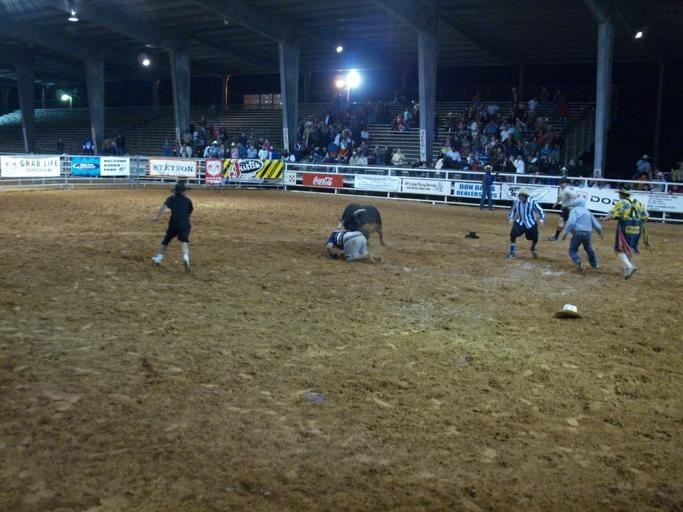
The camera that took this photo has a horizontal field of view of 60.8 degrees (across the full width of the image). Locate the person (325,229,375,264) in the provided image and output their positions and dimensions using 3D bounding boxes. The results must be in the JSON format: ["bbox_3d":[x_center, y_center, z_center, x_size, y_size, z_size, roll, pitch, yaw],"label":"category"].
[{"bbox_3d":[0.069,-0.277,13.626,0.940,0.688,1.104,-6,15,-39],"label":"person"}]

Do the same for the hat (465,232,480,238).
[{"bbox_3d":[4.002,-0.624,17.630,0.271,0.087,0.283,-3,11,-7],"label":"hat"}]

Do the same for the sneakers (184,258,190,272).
[{"bbox_3d":[-3.198,0.239,12.016,0.121,0.368,0.144,-3,19,-12],"label":"sneakers"}]

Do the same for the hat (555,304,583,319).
[{"bbox_3d":[4.005,0.979,10.195,0.454,0.212,0.326,5,12,11],"label":"hat"}]

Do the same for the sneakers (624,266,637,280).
[{"bbox_3d":[6.445,0.331,12.987,0.210,0.297,0.696,8,12,25],"label":"sneakers"}]
